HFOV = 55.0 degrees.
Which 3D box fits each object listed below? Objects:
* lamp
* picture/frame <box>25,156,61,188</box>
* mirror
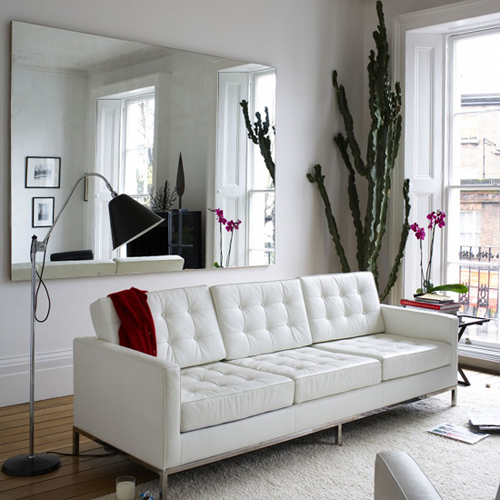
[{"bbox_3d":[-0.867,0.234,2.769,0.912,1.141,1.564,1,0,-22],"label":"lamp"},{"bbox_3d":[-1.366,-0.509,3.136,0.200,0.208,0.020,-1,1,-40],"label":"picture/frame"},{"bbox_3d":[-0.830,-0.734,3.506,2.041,1.614,0.049,-1,1,-42],"label":"mirror"}]
